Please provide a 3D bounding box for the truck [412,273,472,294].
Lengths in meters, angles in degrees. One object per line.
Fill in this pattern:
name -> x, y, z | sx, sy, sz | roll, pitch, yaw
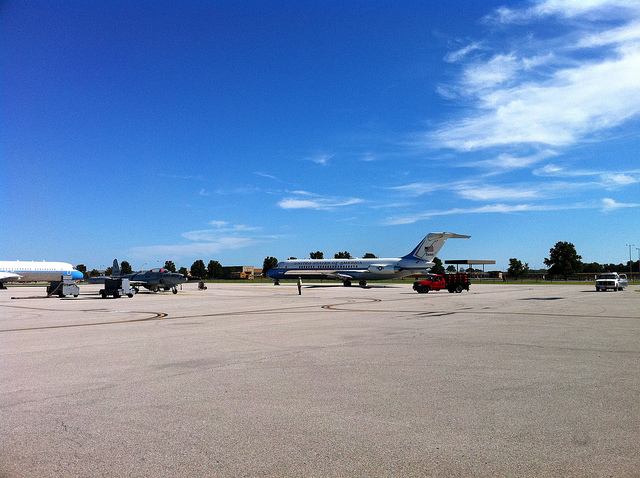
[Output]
truck -> 11.625, 4.304, 43.985 | 4.292, 1.478, 2.255 | 2, -6, -4

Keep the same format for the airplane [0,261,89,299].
airplane -> -38.410, 5.485, 62.251 | 8.752, 2.951, 8.535 | 1, 6, -26

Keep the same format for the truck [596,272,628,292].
truck -> 31.026, 4.615, 49.033 | 2.189, 1.674, 4.240 | -9, -17, 42

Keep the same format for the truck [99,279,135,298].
truck -> -17.011, 4.209, 38.311 | 2.451, 1.319, 1.648 | 0, -3, 0
